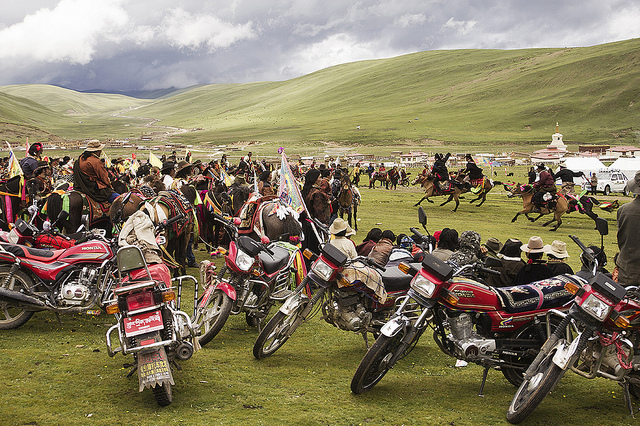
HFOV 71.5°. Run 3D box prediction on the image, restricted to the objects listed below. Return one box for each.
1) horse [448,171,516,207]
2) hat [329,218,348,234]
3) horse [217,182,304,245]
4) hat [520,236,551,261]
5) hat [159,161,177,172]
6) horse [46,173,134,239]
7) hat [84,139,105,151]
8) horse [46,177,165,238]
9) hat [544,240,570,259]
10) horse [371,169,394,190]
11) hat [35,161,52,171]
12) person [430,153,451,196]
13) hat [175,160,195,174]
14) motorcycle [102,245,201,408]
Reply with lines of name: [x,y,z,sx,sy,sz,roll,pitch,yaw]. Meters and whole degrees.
horse: [11.102,-1.636,30.777,4.664,2.233,0.993,5,18,-5]
hat: [0.414,0.292,9.394,0.300,0.124,0.350,26,39,37]
horse: [-1.681,0.191,12.517,3.270,1.701,0.947,14,26,40]
hat: [4.632,0.676,9.498,0.525,0.215,0.608,9,22,40]
hat: [-4.803,-1.509,14.024,0.458,0.144,0.431,-6,2,-6]
horse: [-6.919,-0.169,13.456,1.506,2.148,3.174,2,3,36]
hat: [-6.578,-1.966,12.949,0.468,0.143,0.437,-1,15,1]
horse: [-5.403,-0.089,12.000,3.666,1.953,1.469,-1,7,-17]
hat: [5.265,0.800,9.868,0.477,0.225,0.444,15,1,6]
horse: [6.167,-3.478,44.505,1.995,2.065,2.137,5,11,8]
hat: [-9.525,-1.672,15.238,0.482,0.229,0.480,-2,10,39]
person: [8.189,-2.748,30.484,1.481,2.764,1.117,-7,10,-29]
hat: [-4.126,-1.437,13.552,0.468,0.127,0.442,-12,3,-8]
motorcycle: [-2.618,1.743,6.882,1.209,2.379,1.212,-4,13,-32]
